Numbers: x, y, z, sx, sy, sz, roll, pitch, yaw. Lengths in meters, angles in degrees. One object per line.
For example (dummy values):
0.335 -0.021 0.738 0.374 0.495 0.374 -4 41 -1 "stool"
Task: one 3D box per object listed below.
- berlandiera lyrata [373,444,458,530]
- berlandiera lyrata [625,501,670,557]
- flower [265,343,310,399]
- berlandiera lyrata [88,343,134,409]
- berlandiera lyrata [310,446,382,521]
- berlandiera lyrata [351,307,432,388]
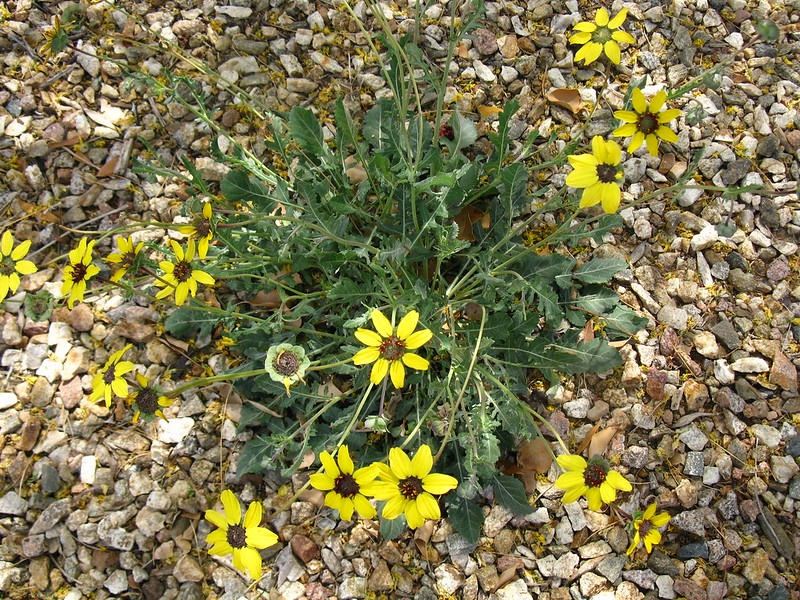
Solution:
0.048 0.866 2.763 0.356 0.444 0.127 18 119 7 "berlandiera lyrata"
1.259 1.172 3.082 0.205 0.268 0.274 7 87 1 "berlandiera lyrata"
-0.575 0.346 3.168 0.242 0.442 0.226 -23 86 0 "flower"
-1.491 0.421 3.115 0.247 0.082 0.256 -29 53 -14 "berlandiera lyrata"
-0.233 0.855 2.907 0.329 0.132 0.353 -32 94 20 "berlandiera lyrata"
-0.039 0.240 2.974 0.351 0.435 0.373 3 87 1 "berlandiera lyrata"
